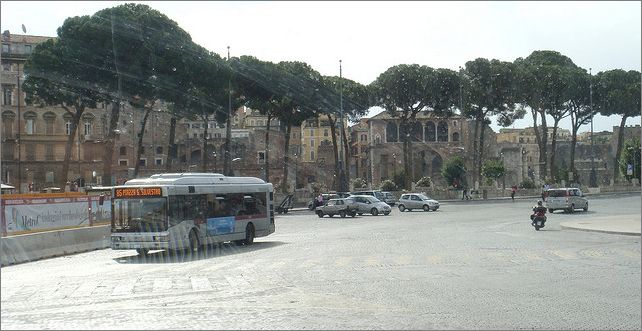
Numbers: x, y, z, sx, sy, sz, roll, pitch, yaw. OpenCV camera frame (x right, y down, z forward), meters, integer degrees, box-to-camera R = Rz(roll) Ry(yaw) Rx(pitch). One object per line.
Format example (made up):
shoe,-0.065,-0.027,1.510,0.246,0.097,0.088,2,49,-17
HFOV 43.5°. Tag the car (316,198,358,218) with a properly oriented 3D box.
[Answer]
car,2.434,5.676,109.414,4.509,1.870,2.607,3,1,19

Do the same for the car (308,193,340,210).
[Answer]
car,0.333,5.335,118.244,4.425,1.980,2.337,0,0,6

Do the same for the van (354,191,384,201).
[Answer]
van,7.722,4.323,122.092,3.044,1.462,1.947,-5,-3,29

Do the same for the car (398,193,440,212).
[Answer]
car,13.900,5.165,113.790,4.674,1.910,2.701,-2,-3,20

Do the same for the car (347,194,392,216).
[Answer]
car,6.972,5.483,110.113,4.804,1.912,2.690,-2,-1,15
